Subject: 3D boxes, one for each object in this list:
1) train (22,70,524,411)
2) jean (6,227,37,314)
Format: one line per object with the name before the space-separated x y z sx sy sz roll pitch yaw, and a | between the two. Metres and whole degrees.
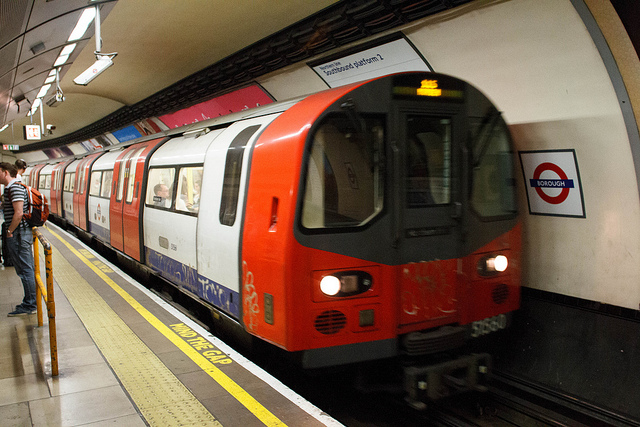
train | -2.867 -0.117 9.436 3.884 3.351 13.247 -4 6 -32
jean | -4.878 0.953 6.359 0.333 1.468 0.382 -7 10 -37
